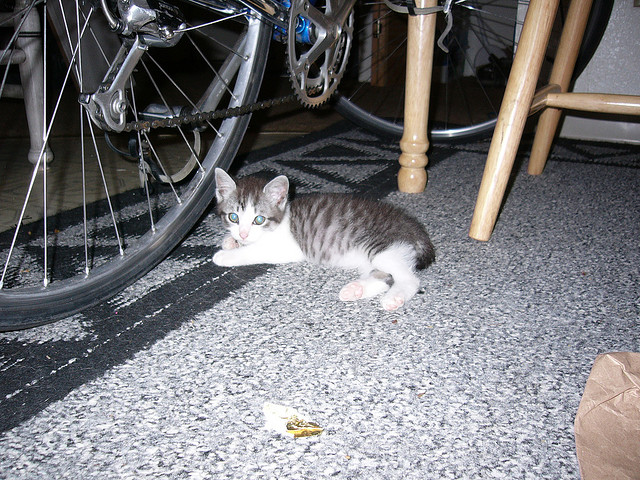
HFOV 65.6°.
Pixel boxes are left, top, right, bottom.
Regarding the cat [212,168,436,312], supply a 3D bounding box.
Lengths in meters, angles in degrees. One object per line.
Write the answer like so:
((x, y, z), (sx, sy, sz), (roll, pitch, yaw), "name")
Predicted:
((0.050, -0.029, 1.513), (0.688, 0.297, 0.279), (8, 13, 34), "cat")
